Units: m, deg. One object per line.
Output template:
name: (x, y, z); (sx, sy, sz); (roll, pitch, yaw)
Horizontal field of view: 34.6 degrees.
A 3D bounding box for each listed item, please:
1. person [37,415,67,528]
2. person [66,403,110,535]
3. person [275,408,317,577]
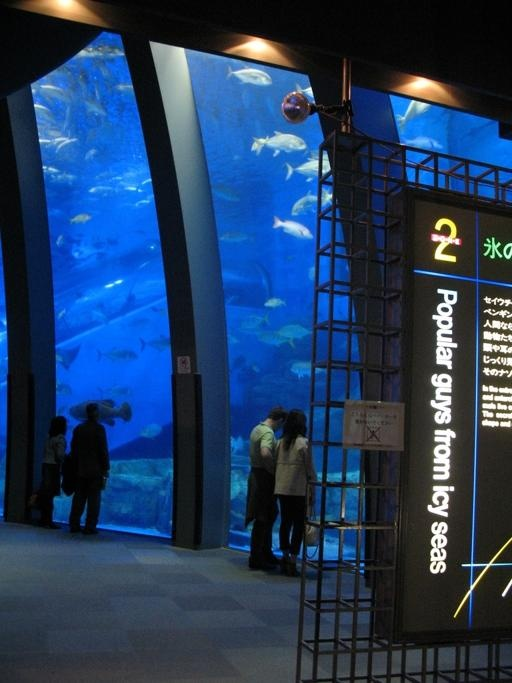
person: (-2.312, 1.448, 9.280); (0.261, 1.250, 0.549); (5, -8, -13)
person: (-1.863, 1.374, 9.099); (0.442, 1.416, 0.458); (5, -8, -11)
person: (0.279, 1.260, 6.968); (0.268, 1.389, 0.506); (3, -8, 1)
